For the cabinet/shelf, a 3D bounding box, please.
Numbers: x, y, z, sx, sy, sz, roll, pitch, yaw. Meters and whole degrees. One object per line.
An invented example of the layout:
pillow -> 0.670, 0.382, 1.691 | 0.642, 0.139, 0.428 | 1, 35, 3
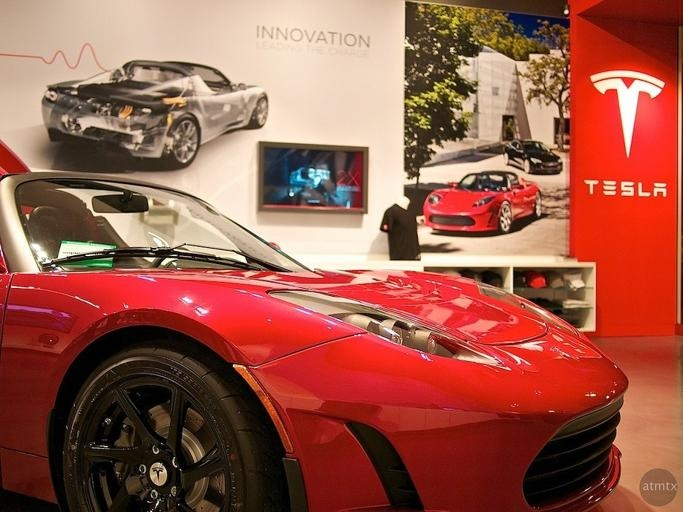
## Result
cabinet/shelf -> 1.623, 0.395, 4.891 | 1.547, 0.604, 0.320 | 0, -2, -3

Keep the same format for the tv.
tv -> -0.280, -0.739, 4.841 | 1.218, 0.623, 0.076 | -4, 11, -36

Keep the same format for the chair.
chair -> -1.012, -0.056, 1.974 | 0.408, 0.305, 0.286 | -9, -4, 44
